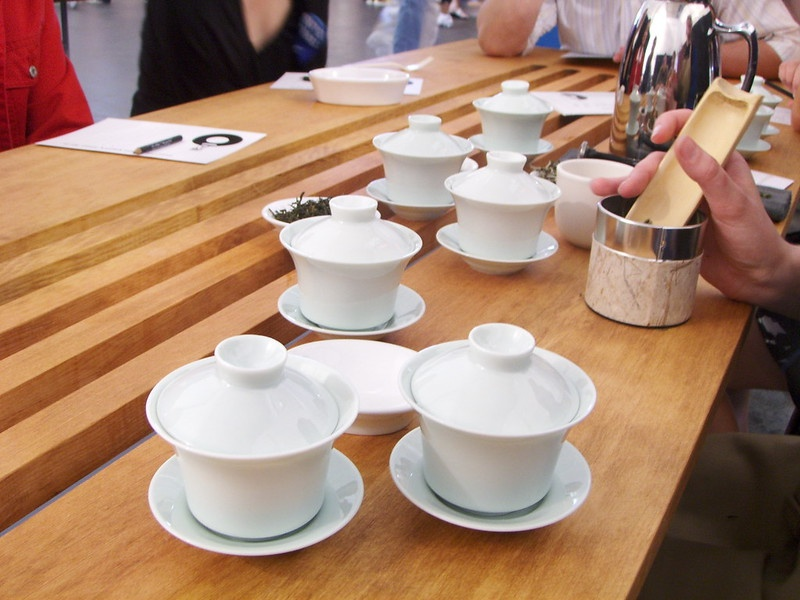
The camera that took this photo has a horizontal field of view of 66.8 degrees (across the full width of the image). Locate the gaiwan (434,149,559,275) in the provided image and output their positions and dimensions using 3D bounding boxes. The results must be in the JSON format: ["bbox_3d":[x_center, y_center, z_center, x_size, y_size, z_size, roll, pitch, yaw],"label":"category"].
[{"bbox_3d":[0.143,-0.133,0.990,0.183,0.155,0.188,26,34,33],"label":"gaiwan"}]

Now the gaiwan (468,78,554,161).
[{"bbox_3d":[0.226,-0.394,1.347,0.177,0.160,0.184,3,27,-2],"label":"gaiwan"}]

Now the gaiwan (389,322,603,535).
[{"bbox_3d":[0.086,0.129,0.594,0.183,0.145,0.180,-10,32,-18],"label":"gaiwan"}]

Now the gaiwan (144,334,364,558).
[{"bbox_3d":[-0.131,0.108,0.522,0.182,0.140,0.179,-5,27,-22],"label":"gaiwan"}]

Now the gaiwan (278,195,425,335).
[{"bbox_3d":[-0.070,-0.042,0.808,0.172,0.143,0.169,-10,29,-30],"label":"gaiwan"}]

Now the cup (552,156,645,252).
[{"bbox_3d":[0.293,-0.171,1.024,0.146,0.160,0.145,0,33,0],"label":"cup"}]
